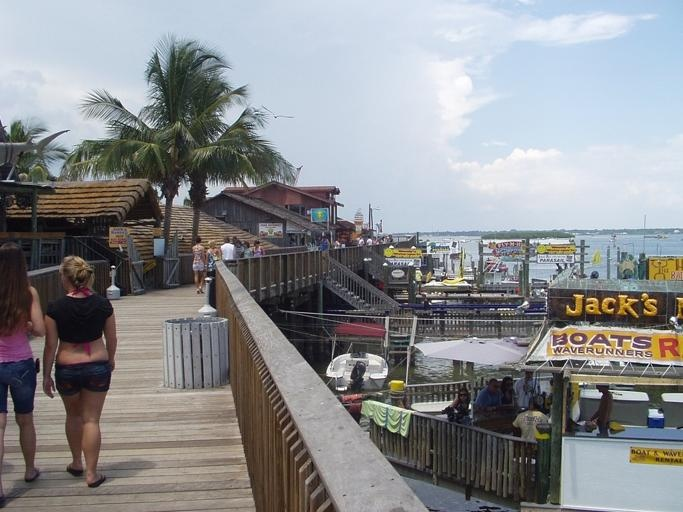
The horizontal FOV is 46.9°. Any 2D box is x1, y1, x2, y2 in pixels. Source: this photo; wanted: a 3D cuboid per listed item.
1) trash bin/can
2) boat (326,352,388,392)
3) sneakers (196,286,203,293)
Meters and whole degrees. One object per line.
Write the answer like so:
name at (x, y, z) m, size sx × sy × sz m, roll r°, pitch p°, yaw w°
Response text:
trash bin/can at (-2.213, 1.457, 12.112) m, size 0.937 × 1.125 × 0.989 m, roll 0°, pitch -1°, yaw 2°
boat at (0.540, 4.243, 28.612) m, size 2.178 × 1.116 × 1.638 m, roll 2°, pitch 3°, yaw -1°
sneakers at (-4.545, 1.103, 25.009) m, size 0.143 × 0.201 × 0.457 m, roll 2°, pitch 10°, yaw -5°
